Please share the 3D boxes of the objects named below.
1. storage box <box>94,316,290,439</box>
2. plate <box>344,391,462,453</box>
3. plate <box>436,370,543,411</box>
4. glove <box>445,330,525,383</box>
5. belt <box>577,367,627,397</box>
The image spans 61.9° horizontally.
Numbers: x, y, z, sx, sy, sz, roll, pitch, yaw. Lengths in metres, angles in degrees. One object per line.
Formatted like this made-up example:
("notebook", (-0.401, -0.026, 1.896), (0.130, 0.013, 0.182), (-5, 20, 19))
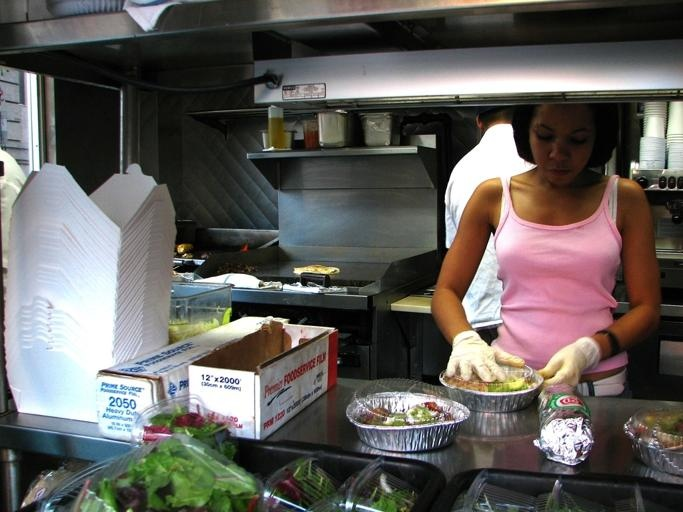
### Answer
("storage box", (-0.372, 0.291, 1.367), (0.234, 0.173, 0.489), (1, 9, 28))
("plate", (0.144, 0.368, 1.249), (0.266, 0.085, 0.153), (-2, 8, 10))
("plate", (0.377, 0.335, 1.419), (0.248, 0.078, 0.171), (-3, 8, 5))
("glove", (0.351, 0.270, 1.474), (0.130, 0.036, 0.134), (2, 12, -17))
("belt", (0.741, 0.362, 1.631), (0.166, 0.057, 0.119), (-5, 3, -10))
